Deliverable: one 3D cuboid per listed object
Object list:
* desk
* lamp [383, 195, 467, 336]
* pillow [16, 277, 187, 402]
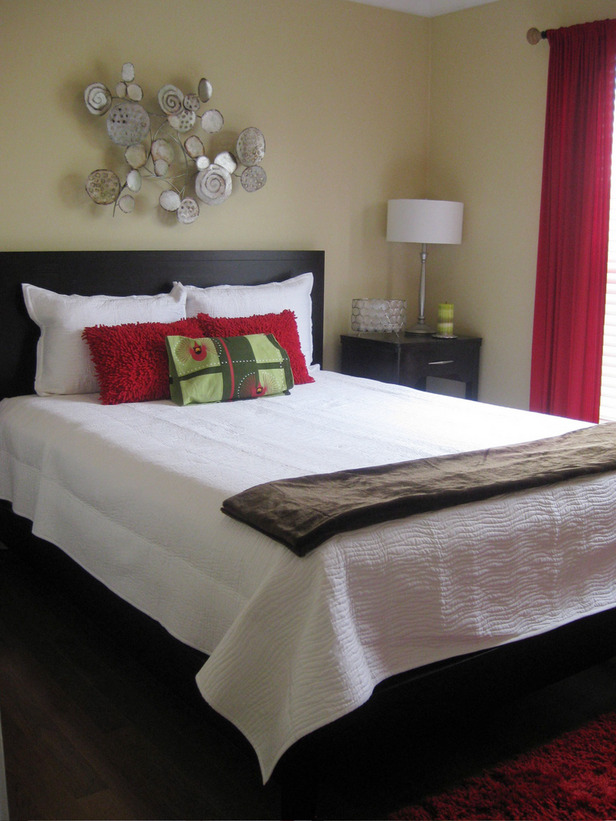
[{"bbox_3d":[0.629,-0.389,3.855,0.574,0.602,0.441,-7,13,-36],"label":"desk"},{"bbox_3d":[0.705,-0.849,3.897,0.456,0.712,0.456,3,0,35],"label":"lamp"},{"bbox_3d":[-0.894,-0.279,2.695,0.538,0.354,0.157,-5,-15,-41],"label":"pillow"}]
